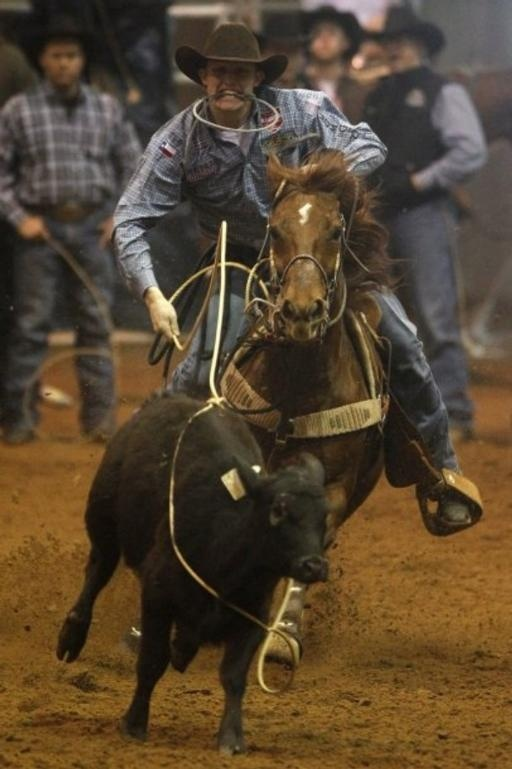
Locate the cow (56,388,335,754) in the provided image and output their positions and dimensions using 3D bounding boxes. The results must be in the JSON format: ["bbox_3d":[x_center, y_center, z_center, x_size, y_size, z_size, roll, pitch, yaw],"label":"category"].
[{"bbox_3d":[-0.206,0.575,2.936,0.442,1.066,1.176,2,1,-20],"label":"cow"}]

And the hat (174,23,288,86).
[{"bbox_3d":[-0.114,-1.298,3.929,0.351,0.128,0.343,0,-19,2],"label":"hat"}]
